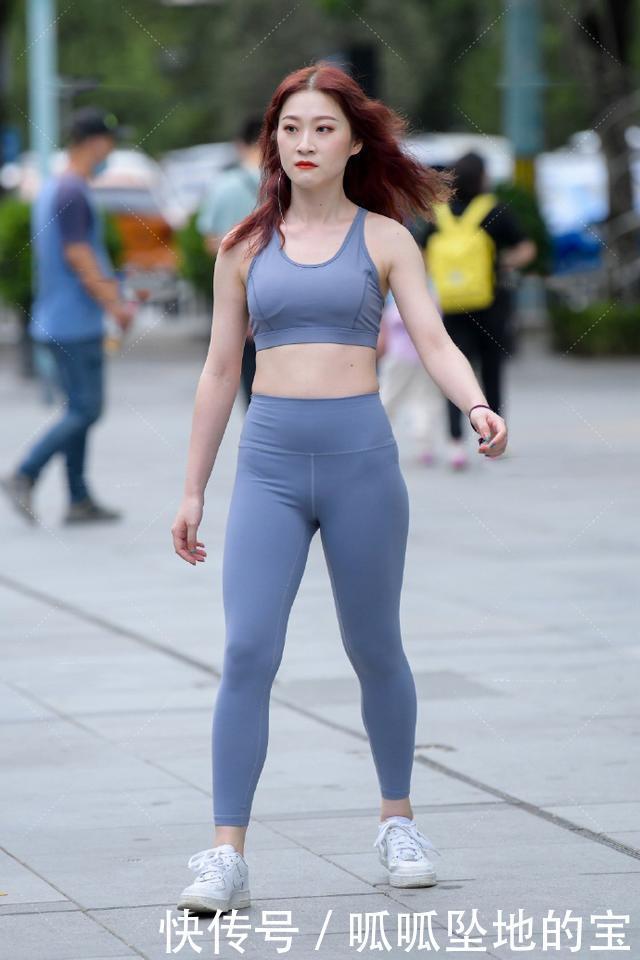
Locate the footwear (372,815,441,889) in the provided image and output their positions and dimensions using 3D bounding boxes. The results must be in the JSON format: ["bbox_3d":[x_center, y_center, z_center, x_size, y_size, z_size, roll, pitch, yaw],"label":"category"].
[{"bbox_3d":[0.180,0.722,2.357,0.073,0.056,0.146,-4,3,-8],"label":"footwear"}]

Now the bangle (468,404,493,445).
[{"bbox_3d":[0.277,-0.089,2.112,0.057,0.064,0.029,-5,-18,-7],"label":"bangle"}]

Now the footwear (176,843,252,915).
[{"bbox_3d":[-0.185,0.714,2.179,0.120,0.098,0.147,2,4,1],"label":"footwear"}]
